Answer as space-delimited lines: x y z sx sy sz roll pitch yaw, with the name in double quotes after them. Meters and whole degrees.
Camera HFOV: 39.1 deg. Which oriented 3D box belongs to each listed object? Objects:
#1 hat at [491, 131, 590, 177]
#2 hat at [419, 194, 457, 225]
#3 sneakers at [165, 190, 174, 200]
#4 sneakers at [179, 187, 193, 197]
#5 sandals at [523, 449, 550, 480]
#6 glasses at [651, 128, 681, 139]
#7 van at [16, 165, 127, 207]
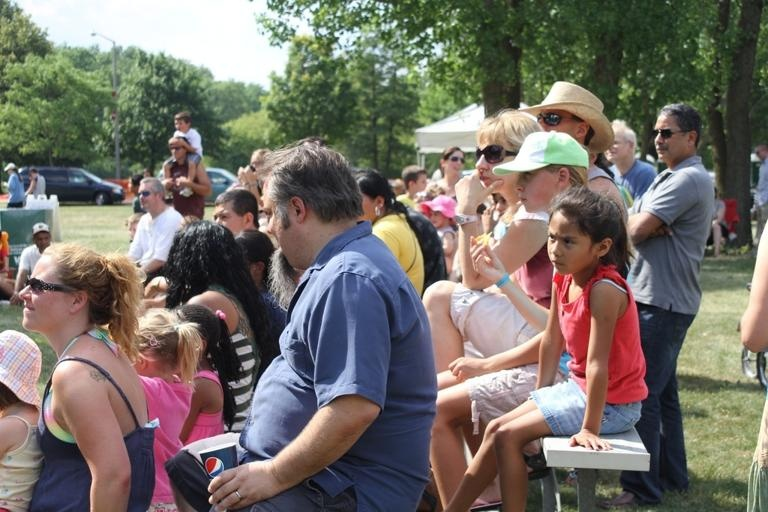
1.787 -1.165 12.277 0.801 0.347 0.538 -4 1 -10 "hat"
0.810 -0.746 16.681 0.462 0.200 0.373 15 -3 7 "hat"
-3.822 -1.064 19.039 0.139 0.055 0.150 13 37 16 "sneakers"
-3.456 -1.111 18.631 0.104 0.113 0.253 8 18 -7 "sneakers"
1.674 2.312 12.100 0.303 0.309 0.287 1 -3 4 "sandals"
3.456 -1.510 13.300 0.363 0.134 0.127 0 1 35 "glasses"
-11.658 -2.205 39.985 4.139 1.647 2.048 -4 10 -20 "van"
